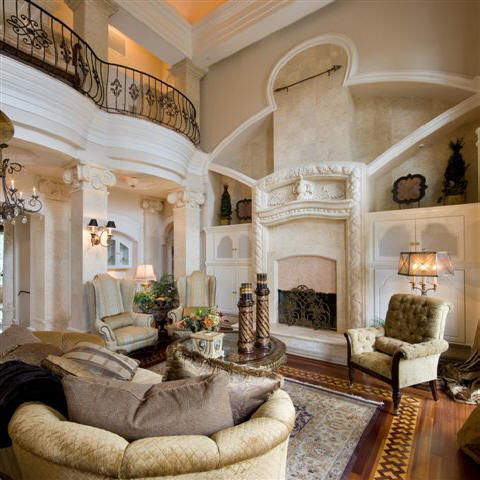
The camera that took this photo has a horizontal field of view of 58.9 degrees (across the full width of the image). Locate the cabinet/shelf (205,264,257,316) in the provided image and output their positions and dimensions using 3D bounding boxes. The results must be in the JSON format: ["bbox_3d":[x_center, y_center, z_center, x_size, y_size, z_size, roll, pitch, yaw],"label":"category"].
[{"bbox_3d":[-0.135,0.790,6.654,0.827,0.833,0.331,-5,-9,40],"label":"cabinet/shelf"}]

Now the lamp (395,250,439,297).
[{"bbox_3d":[2.133,0.461,5.000,0.517,0.691,0.452,1,6,31],"label":"lamp"}]

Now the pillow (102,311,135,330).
[{"bbox_3d":[-1.669,1.107,5.817,0.131,0.149,0.445,-11,-12,23],"label":"pillow"}]

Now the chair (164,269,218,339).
[{"bbox_3d":[-0.720,1.012,6.480,0.754,1.046,0.853,2,-6,-22],"label":"chair"}]

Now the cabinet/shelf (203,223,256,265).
[{"bbox_3d":[-0.175,0.091,7.599,0.693,0.685,0.273,-3,-7,28],"label":"cabinet/shelf"}]

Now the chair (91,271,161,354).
[{"bbox_3d":[-1.622,1.020,5.865,0.807,1.115,0.790,-3,-2,-39],"label":"chair"}]

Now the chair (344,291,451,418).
[{"bbox_3d":[1.705,1.144,4.930,1.019,1.455,1.212,4,-6,-24],"label":"chair"}]
